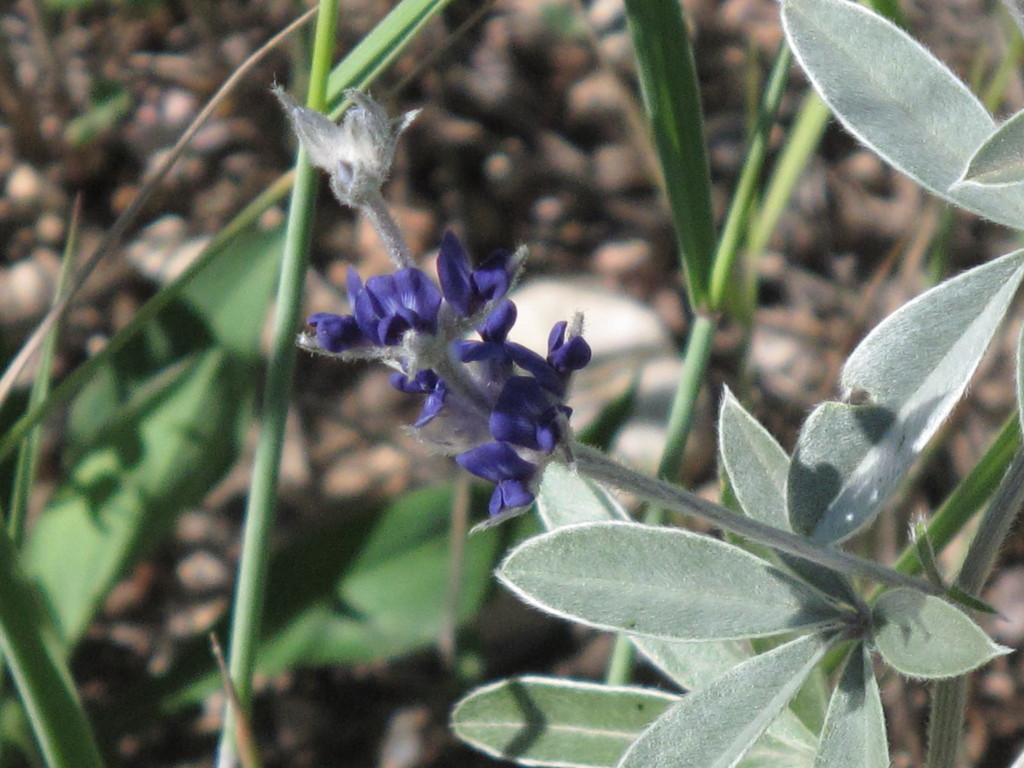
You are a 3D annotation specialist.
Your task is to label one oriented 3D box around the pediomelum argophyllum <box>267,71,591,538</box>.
[{"bbox_3d":[-0.149,-0.156,2.287,0.632,0.588,0.427,29,61,37],"label":"pediomelum argophyllum"}]
